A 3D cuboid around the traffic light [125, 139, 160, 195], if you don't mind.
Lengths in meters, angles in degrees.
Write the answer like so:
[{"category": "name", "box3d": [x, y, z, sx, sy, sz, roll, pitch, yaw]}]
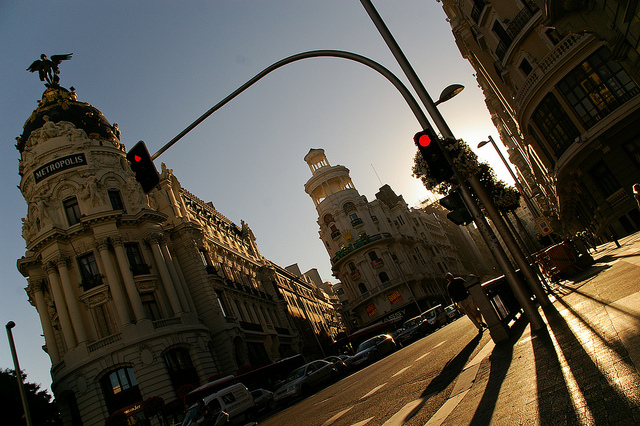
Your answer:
[{"category": "traffic light", "box3d": [-6.118, -1.599, 16.610, 0.875, 1.703, 1.388, -15, -22, -21]}]
